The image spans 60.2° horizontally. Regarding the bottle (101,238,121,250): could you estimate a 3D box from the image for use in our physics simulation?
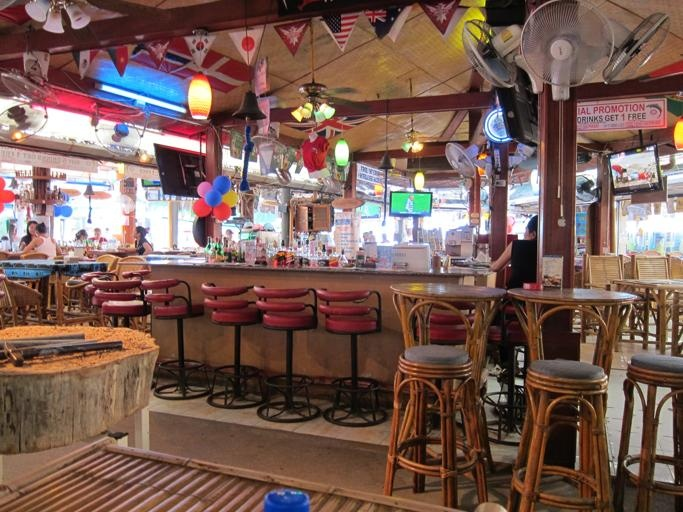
[{"bbox_3d":[-6.357,-0.350,16.205,0.437,0.222,0.603,2,8,-5],"label":"bottle"}]

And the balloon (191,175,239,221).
[{"bbox_3d":[-1.786,-0.824,8.392,0.564,0.596,1.072,1,-1,-9],"label":"balloon"}]

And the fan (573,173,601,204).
[{"bbox_3d":[4.732,-1.330,11.328,0.335,0.579,0.543,1,0,19],"label":"fan"}]

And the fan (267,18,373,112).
[{"bbox_3d":[-0.162,-2.533,7.868,1.089,1.204,1.194,0,-2,-2],"label":"fan"}]

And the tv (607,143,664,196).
[{"bbox_3d":[5.411,-1.571,10.825,0.314,0.922,1.091,1,0,-17],"label":"tv"}]

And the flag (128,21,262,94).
[{"bbox_3d":[-2.085,-2.755,8.220,1.488,0.330,0.976,-9,-28,-30],"label":"flag"}]

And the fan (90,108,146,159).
[{"bbox_3d":[-3.928,-2.047,10.420,0.904,0.829,0.268,13,32,-24],"label":"fan"}]

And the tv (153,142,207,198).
[{"bbox_3d":[-2.637,-1.441,9.696,0.140,0.943,1.381,1,20,30],"label":"tv"}]

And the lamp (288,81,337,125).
[{"bbox_3d":[-0.427,-2.238,8.558,0.802,0.507,0.910,3,5,33],"label":"lamp"}]

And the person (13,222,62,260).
[{"bbox_3d":[-5.674,-0.258,11.132,0.892,0.595,1.252,1,9,-31],"label":"person"}]
